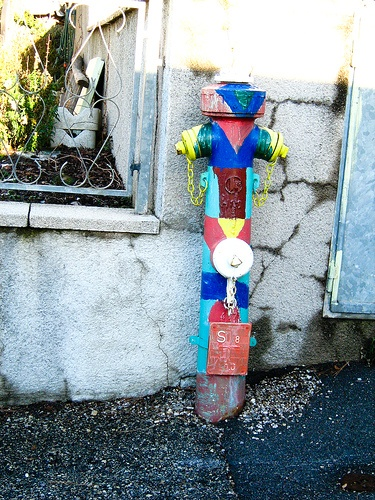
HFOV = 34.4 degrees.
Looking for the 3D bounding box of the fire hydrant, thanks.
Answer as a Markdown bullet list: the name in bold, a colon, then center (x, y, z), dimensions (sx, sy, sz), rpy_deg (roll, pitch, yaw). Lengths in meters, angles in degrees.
- **fire hydrant**: center (0.184, 0.033, 3.106), dimensions (0.496, 1.768, 0.403), rpy_deg (16, 22, 28)
